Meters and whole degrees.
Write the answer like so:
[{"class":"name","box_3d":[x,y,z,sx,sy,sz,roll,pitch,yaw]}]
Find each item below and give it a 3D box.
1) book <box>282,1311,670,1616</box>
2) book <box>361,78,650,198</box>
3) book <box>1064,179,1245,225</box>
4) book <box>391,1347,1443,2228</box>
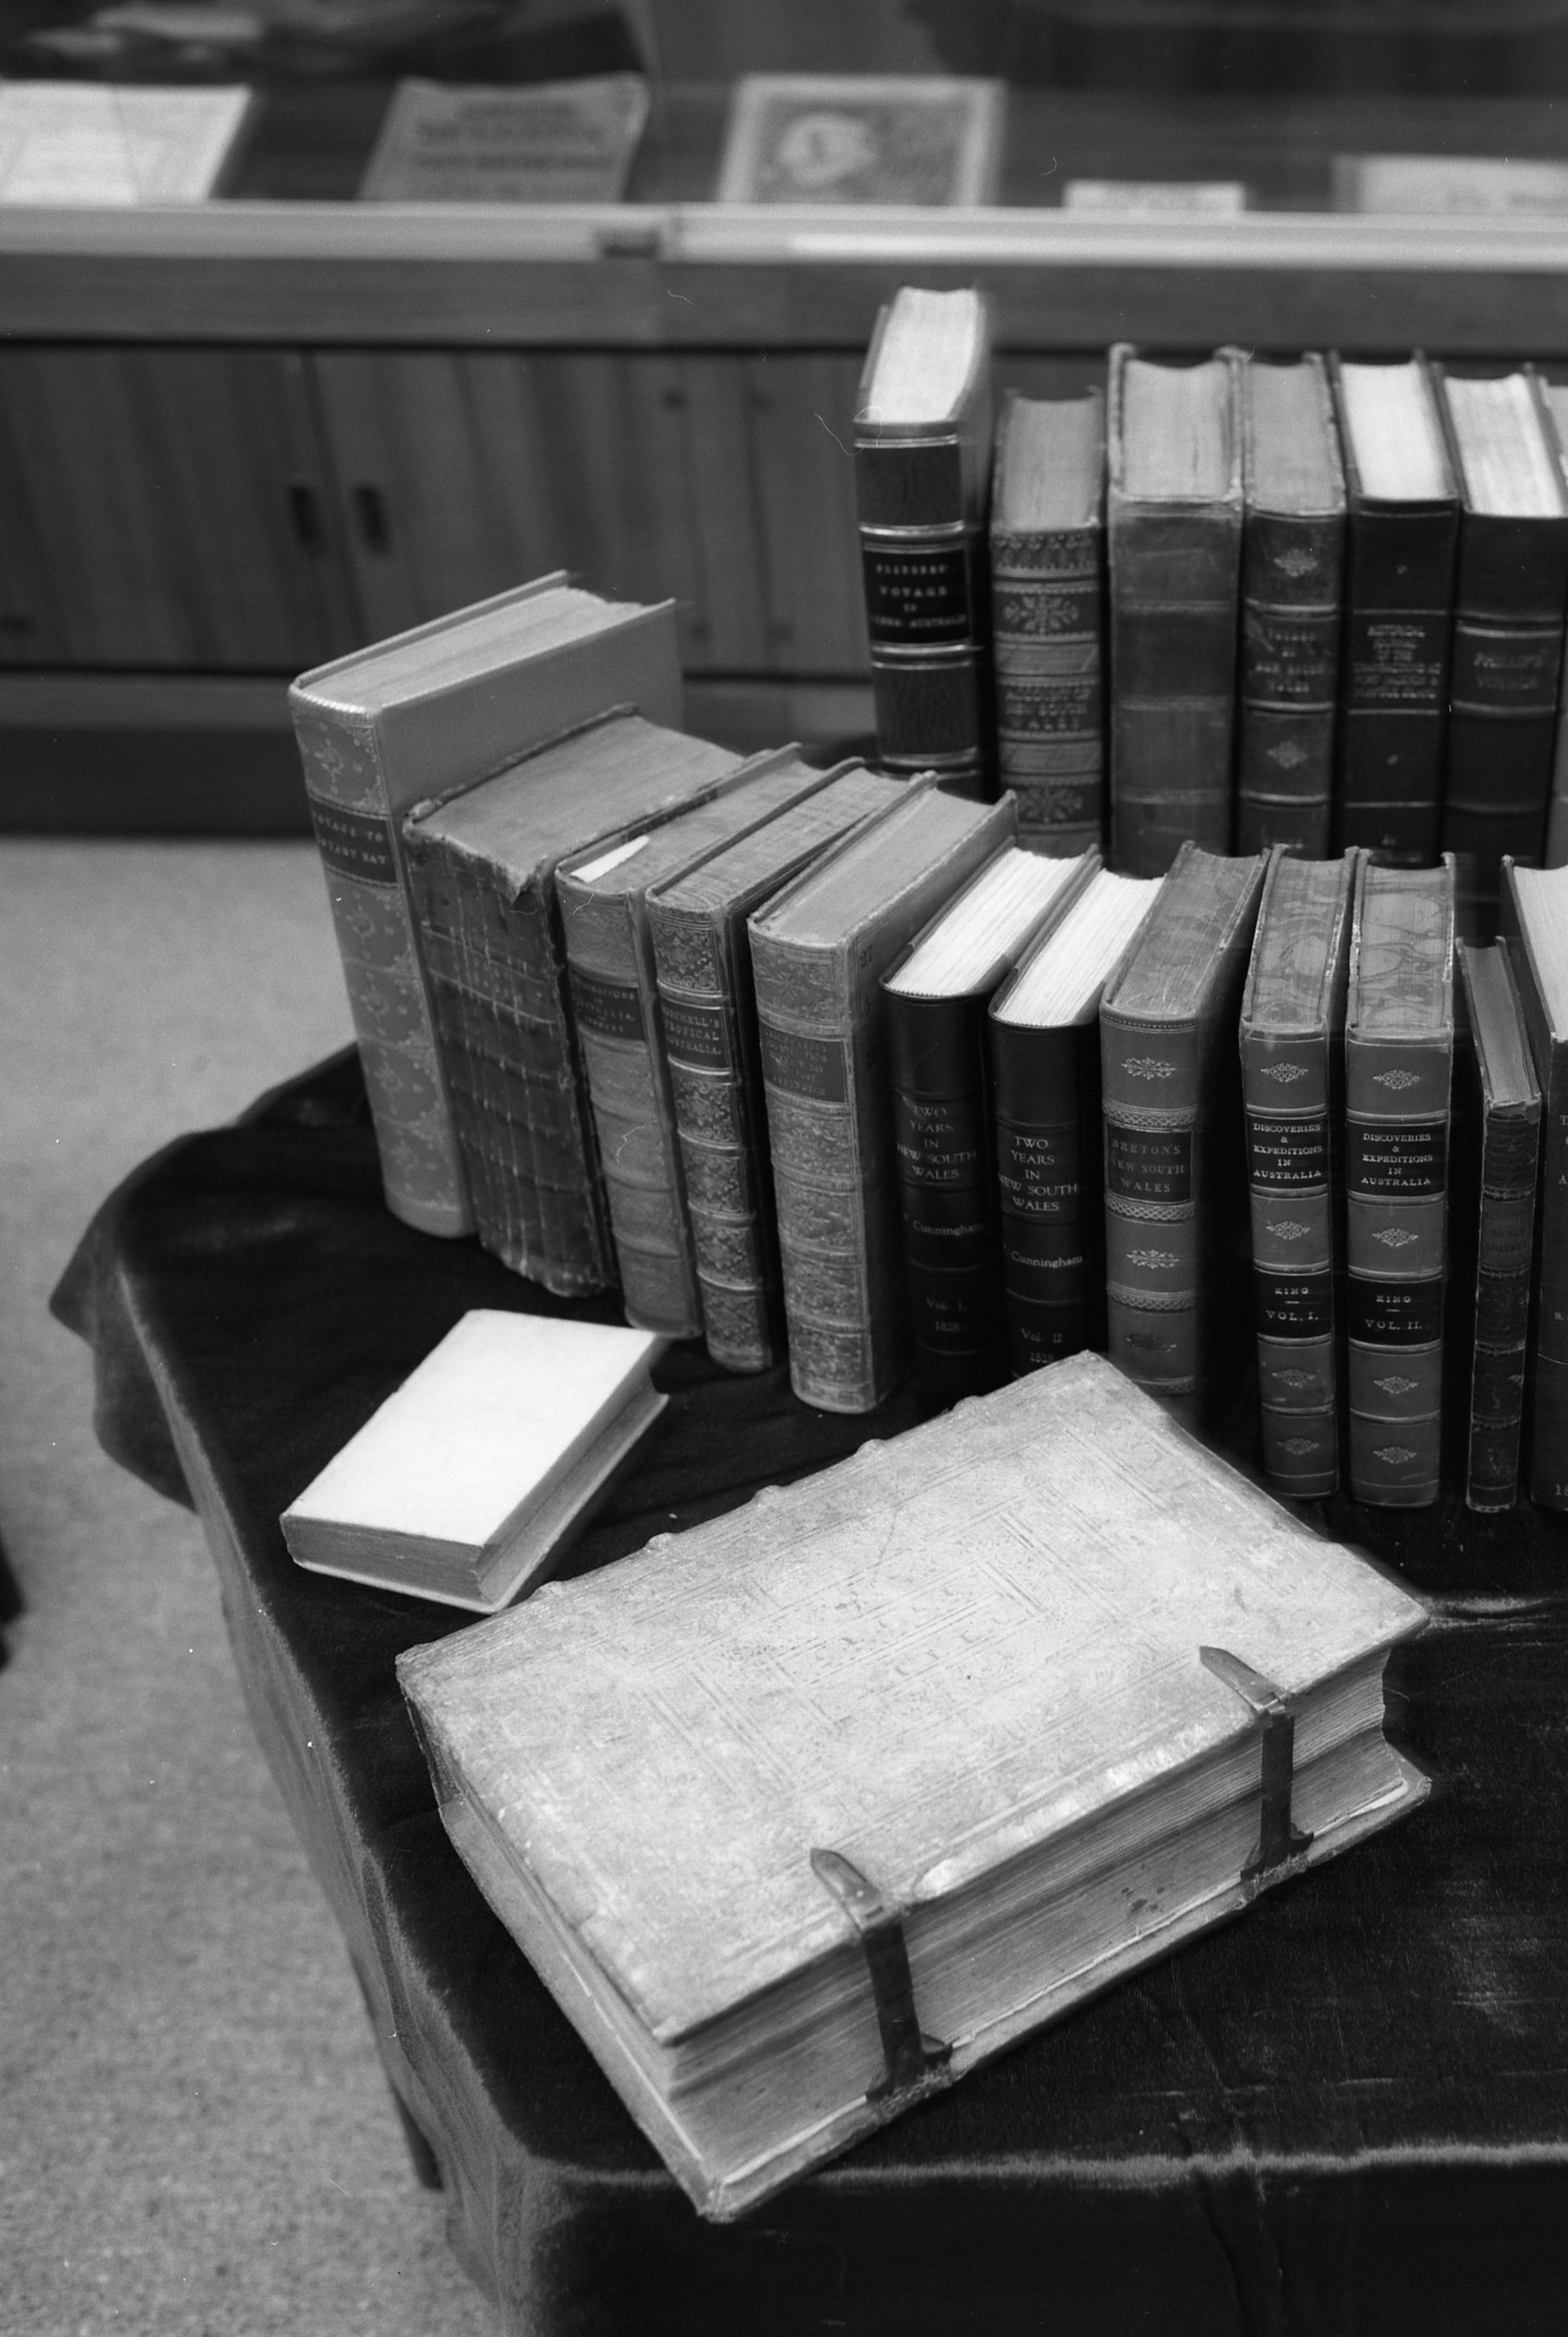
[{"class":"book","box_3d":[-0.143,0.123,0.844,0.102,0.037,0.152,3,33,18]},{"class":"book","box_3d":[-0.275,-1.012,1.937,0.138,0.035,0.150,2,62,5]},{"class":"book","box_3d":[0.355,-0.926,1.875,0.173,0.045,0.020,5,33,20]},{"class":"book","box_3d":[0.046,0.153,0.605,0.266,0.090,0.198,-23,35,-23]}]
